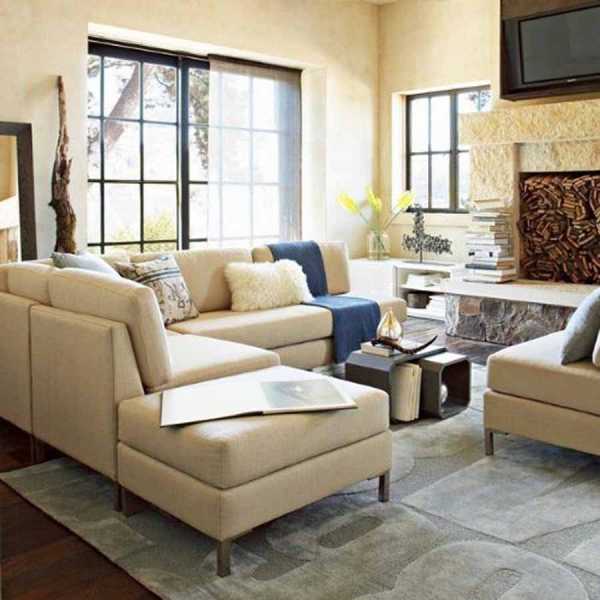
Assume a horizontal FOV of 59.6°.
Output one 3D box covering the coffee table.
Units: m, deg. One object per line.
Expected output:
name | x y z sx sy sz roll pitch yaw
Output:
coffee table | 0.592 0.409 2.760 0.582 0.335 0.440 -2 4 -42

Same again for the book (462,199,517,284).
book | 1.726 -0.544 4.723 0.441 0.758 0.403 1 4 18

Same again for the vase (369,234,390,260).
vase | 0.893 -0.615 6.005 0.289 0.307 0.281 0 0 -2

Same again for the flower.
flower | 0.909 -0.922 6.164 0.908 0.845 0.881 -3 5 -32

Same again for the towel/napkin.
towel/napkin | -0.084 -0.046 3.824 0.674 0.970 1.020 -8 10 -42
